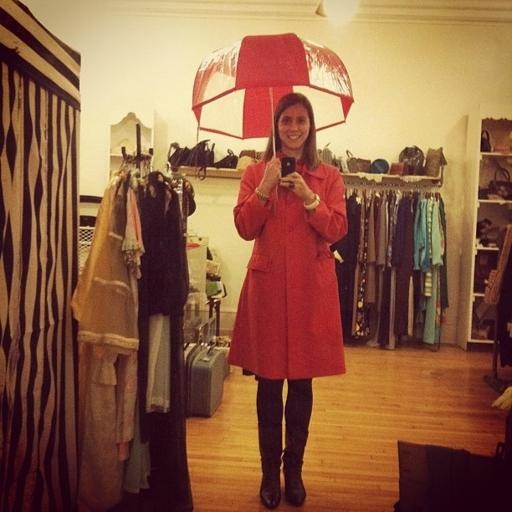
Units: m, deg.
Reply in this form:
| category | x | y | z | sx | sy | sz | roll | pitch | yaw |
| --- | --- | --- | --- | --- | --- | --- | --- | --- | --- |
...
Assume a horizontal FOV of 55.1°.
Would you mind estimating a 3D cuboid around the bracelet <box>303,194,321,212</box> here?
| category | x | y | z | sx | sy | sz | roll | pitch | yaw |
| --- | --- | --- | --- | --- | --- | --- | --- | --- | --- |
| bracelet | 0.214 | -0.197 | 1.862 | 0.019 | 0.061 | 0.051 | 29 | -10 | 6 |

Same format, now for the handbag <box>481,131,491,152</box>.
| category | x | y | z | sx | sy | sz | roll | pitch | yaw |
| --- | --- | --- | --- | --- | --- | --- | --- | --- | --- |
| handbag | 2.254 | -1.127 | 4.817 | 0.087 | 0.241 | 0.250 | 1 | 2 | 26 |

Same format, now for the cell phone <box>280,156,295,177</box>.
| category | x | y | z | sx | sy | sz | roll | pitch | yaw |
| --- | --- | --- | --- | --- | --- | --- | --- | --- | --- |
| cell phone | 0.126 | -0.345 | 1.905 | 0.058 | 0.083 | 0.102 | 1 | 2 | 3 |

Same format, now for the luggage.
| category | x | y | z | sx | sy | sz | roll | pitch | yaw |
| --- | --- | --- | --- | --- | --- | --- | --- | --- | --- |
| luggage | -0.324 | 0.720 | 3.204 | 0.220 | 0.473 | 0.588 | 0 | 2 | 0 |

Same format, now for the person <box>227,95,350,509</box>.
| category | x | y | z | sx | sy | sz | roll | pitch | yaw |
| --- | --- | --- | --- | --- | --- | --- | --- | --- | --- |
| person | 0.129 | 0.192 | 1.993 | 0.464 | 1.676 | 0.306 | 1 | 2 | 10 |

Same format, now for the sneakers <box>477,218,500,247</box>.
| category | x | y | z | sx | sy | sz | roll | pitch | yaw |
| --- | --- | --- | --- | --- | --- | --- | --- | --- | --- |
| sneakers | 2.273 | -0.222 | 4.813 | 0.184 | 0.382 | 0.172 | 2 | -2 | 5 |

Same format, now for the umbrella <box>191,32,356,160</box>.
| category | x | y | z | sx | sy | sz | roll | pitch | yaw |
| --- | --- | --- | --- | --- | --- | --- | --- | --- | --- |
| umbrella | 0.071 | -0.821 | 2.327 | 0.713 | 0.432 | 0.882 | -3 | 1 | 13 |

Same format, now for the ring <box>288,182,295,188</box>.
| category | x | y | z | sx | sy | sz | roll | pitch | yaw |
| --- | --- | --- | --- | --- | --- | --- | --- | --- | --- |
| ring | 0.135 | -0.270 | 1.860 | 0.015 | 0.022 | 0.012 | 3 | -4 | -5 |
